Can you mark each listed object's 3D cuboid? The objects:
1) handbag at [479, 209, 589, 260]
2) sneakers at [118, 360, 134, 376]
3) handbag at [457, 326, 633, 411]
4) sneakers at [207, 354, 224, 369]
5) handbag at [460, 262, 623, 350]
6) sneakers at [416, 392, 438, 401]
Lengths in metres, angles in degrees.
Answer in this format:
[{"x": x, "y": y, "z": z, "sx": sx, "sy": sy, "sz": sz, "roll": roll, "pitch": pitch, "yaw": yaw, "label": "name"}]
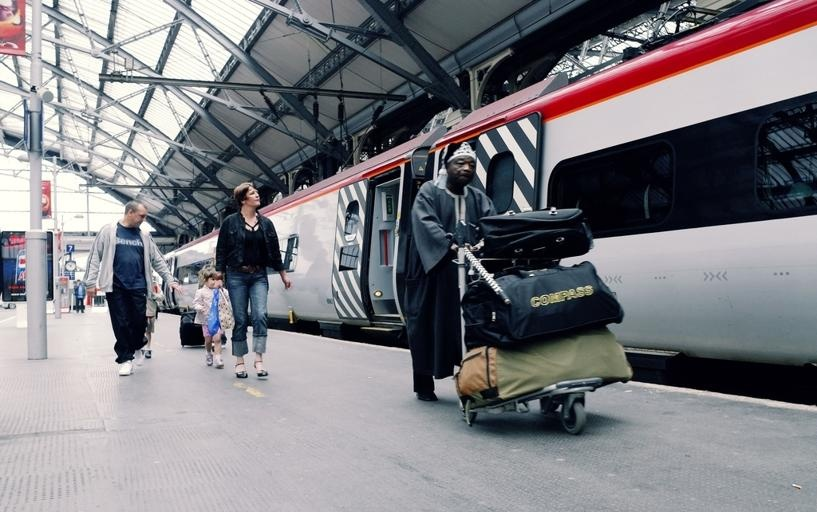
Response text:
[{"x": 1.102, "y": -0.176, "z": 4.534, "sx": 0.692, "sy": 0.255, "sz": 0.511, "roll": -1, "pitch": -2, "yaw": -10, "label": "handbag"}, {"x": -3.858, "y": 1.534, "z": 7.295, "sx": 0.157, "sy": 0.157, "sz": 0.405, "roll": 2, "pitch": -11, "yaw": -9, "label": "sneakers"}, {"x": 1.148, "y": 0.958, "z": 4.663, "sx": 1.451, "sy": 0.443, "sz": 0.947, "roll": -5, "pitch": -11, "yaw": -25, "label": "handbag"}, {"x": -2.930, "y": 1.580, "z": 8.004, "sx": 0.173, "sy": 0.222, "sz": 0.540, "roll": 3, "pitch": -8, "yaw": -34, "label": "sneakers"}, {"x": 1.083, "y": 0.318, "z": 4.388, "sx": 1.031, "sy": 0.430, "sz": 0.693, "roll": -8, "pitch": 4, "yaw": -13, "label": "handbag"}, {"x": 0.210, "y": 1.431, "z": 5.435, "sx": 0.086, "sy": 0.078, "sz": 0.193, "roll": 7, "pitch": -12, "yaw": -41, "label": "sneakers"}]
